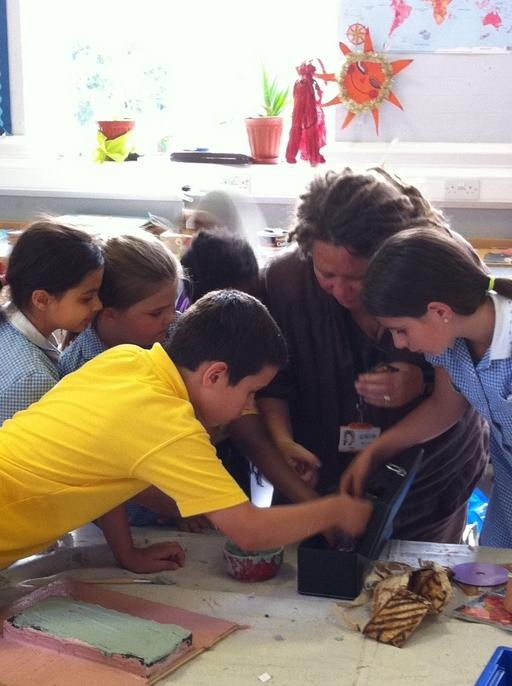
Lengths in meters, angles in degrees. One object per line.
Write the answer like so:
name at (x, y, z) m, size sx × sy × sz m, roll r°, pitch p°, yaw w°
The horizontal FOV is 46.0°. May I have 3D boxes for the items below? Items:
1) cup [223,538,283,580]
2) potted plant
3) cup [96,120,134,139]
cup at (-0.006, 0.421, 1.178) m, size 0.110 × 0.041 × 0.093 m, roll -1°, pitch 3°, yaw -16°
potted plant at (0.062, -1.186, 3.149) m, size 0.228 × 0.495 × 0.245 m, roll -2°, pitch 5°, yaw 2°
cup at (-0.778, -1.161, 3.301) m, size 0.138 × 0.058 × 0.124 m, roll 0°, pitch 15°, yaw 10°
